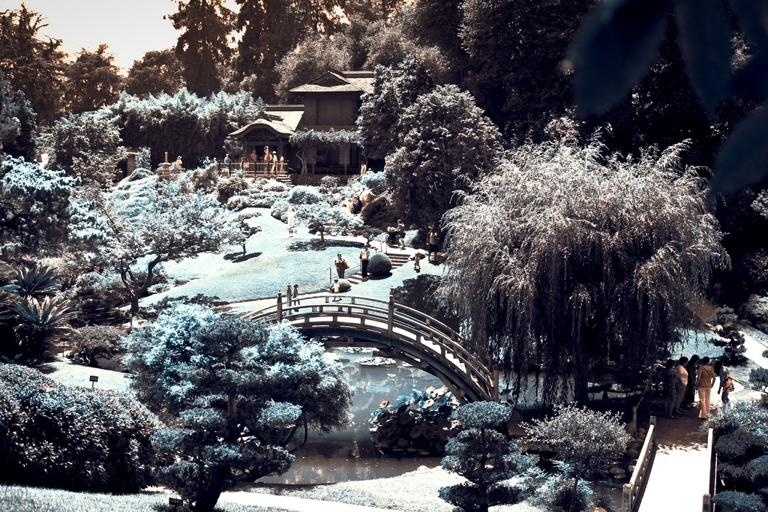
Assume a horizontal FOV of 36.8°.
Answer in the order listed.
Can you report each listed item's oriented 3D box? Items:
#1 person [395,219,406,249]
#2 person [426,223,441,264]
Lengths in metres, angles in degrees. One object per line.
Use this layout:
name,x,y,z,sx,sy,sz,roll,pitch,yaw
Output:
person,1.024,-1.297,71.164,0.536,1.906,1.039,2,-6,0
person,2.828,-0.877,67.475,0.652,0.607,2.032,-6,-43,-4
